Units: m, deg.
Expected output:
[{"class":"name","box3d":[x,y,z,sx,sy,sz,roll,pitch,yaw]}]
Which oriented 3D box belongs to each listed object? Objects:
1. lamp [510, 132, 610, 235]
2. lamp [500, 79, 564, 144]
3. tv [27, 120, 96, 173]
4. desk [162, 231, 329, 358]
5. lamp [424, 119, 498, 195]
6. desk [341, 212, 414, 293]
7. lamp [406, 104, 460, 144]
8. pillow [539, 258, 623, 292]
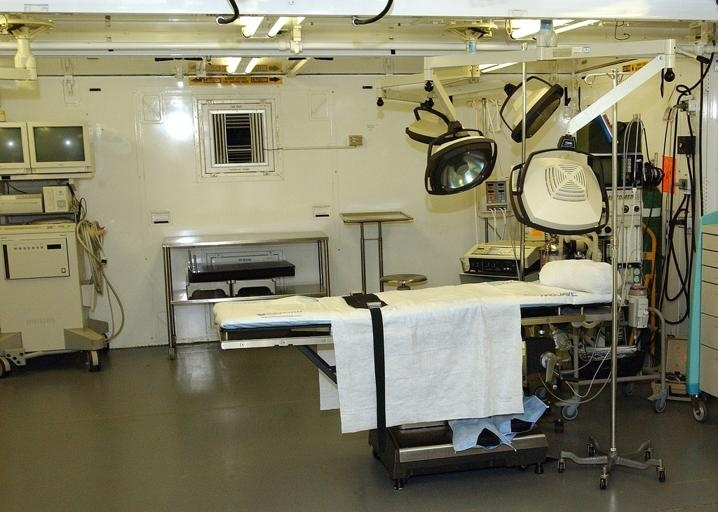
[{"class":"lamp","box3d":[1.232,-0.435,4.108,0.697,0.600,0.295,5,-16,-14]},{"class":"lamp","box3d":[1.171,-0.997,4.394,0.350,0.433,0.474,-2,12,-2]},{"class":"tv","box3d":[-3.157,-1.084,6.939,0.843,0.681,0.449,-2,2,-20]},{"class":"desk","box3d":[-1.303,0.450,7.403,1.815,1.251,0.669,-3,5,-16]},{"class":"lamp","box3d":[0.671,-0.634,4.243,0.441,0.477,0.414,0,12,9]},{"class":"desk","box3d":[0.139,-0.075,7.988,0.952,1.333,0.944,-1,3,-8]},{"class":"lamp","box3d":[0.534,-0.895,4.540,0.400,0.218,0.300,9,25,32]},{"class":"pillow","box3d":[1.631,0.161,4.866,0.270,0.166,0.462,-18,14,-28]}]
